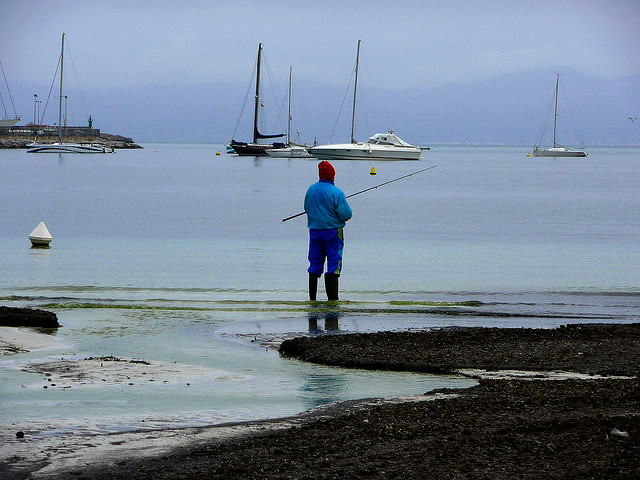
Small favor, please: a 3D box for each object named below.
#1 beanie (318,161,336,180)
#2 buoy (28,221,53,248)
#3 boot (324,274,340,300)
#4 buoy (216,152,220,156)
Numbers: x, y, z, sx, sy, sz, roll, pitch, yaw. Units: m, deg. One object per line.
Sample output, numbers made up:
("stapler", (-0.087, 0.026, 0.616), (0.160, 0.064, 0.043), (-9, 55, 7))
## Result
("beanie", (0.105, -1.015, 18.053), (0.208, 0.266, 0.530), (1, 6, 0))
("buoy", (-5.611, -0.118, 25.454), (0.404, 0.495, 0.491), (0, 7, -11))
("boot", (0.174, 0.668, 18.053), (0.176, 0.379, 0.165), (1, 7, -4))
("buoy", (-11.166, -9.610, 139.245), (0.595, 0.249, 0.908), (1, 6, 2))
